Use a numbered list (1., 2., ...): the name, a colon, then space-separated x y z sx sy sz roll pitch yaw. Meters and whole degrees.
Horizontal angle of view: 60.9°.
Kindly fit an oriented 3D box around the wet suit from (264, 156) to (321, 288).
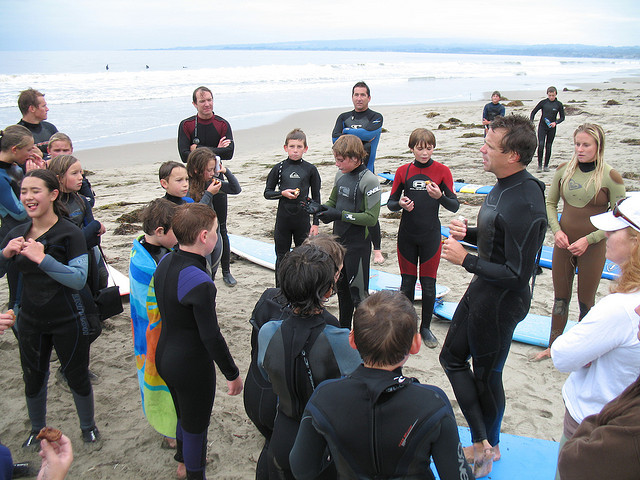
1. wet suit: -0.320 -0.214 6.270 0.637 1.444 0.548 1 16 1

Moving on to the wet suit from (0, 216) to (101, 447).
1. wet suit: -2.134 0.769 4.327 0.655 1.905 0.425 -4 17 -16

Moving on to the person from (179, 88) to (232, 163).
1. person: -1.441 -1.394 6.871 0.679 0.991 0.545 -2 4 -7

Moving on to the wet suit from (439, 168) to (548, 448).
1. wet suit: 1.304 0.530 4.118 0.658 2.100 0.515 -13 22 -40

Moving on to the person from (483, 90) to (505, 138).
1. person: 4.595 -3.085 14.386 0.590 1.598 0.583 2 31 19

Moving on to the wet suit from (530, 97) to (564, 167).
1. wet suit: 5.290 -2.536 12.779 0.694 1.557 1.699 7 17 21

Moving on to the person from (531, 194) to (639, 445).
1. person: 1.675 0.503 3.273 0.472 1.540 0.413 8 18 24

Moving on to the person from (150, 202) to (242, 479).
1. person: -0.914 0.829 3.975 0.569 2.159 0.584 -5 17 -19

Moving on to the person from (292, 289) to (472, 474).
1. person: 0.365 0.841 2.995 0.930 0.960 0.461 6 17 17

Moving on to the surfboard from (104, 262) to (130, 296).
1. surfboard: -2.304 0.451 6.175 0.219 0.121 0.823 -10 17 -29

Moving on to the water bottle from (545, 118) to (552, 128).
1. water bottle: 5.228 -2.674 12.421 0.077 0.099 0.322 6 59 -9

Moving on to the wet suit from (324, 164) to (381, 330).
1. wet suit: 0.339 0.103 5.481 0.538 1.685 0.777 1 16 -1

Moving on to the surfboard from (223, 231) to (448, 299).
1. surfboard: 0.201 0.268 5.434 1.767 0.254 0.415 17 35 39

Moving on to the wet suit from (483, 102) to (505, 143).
1. wet suit: 4.569 -3.197 14.360 0.472 0.789 1.048 5 16 15

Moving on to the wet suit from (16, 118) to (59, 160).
1. wet suit: -3.261 -1.201 6.332 0.373 0.381 0.899 -7 18 -26

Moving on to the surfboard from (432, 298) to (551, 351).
1. surfboard: 1.872 0.771 6.256 0.528 0.245 1.659 -32 22 -24
